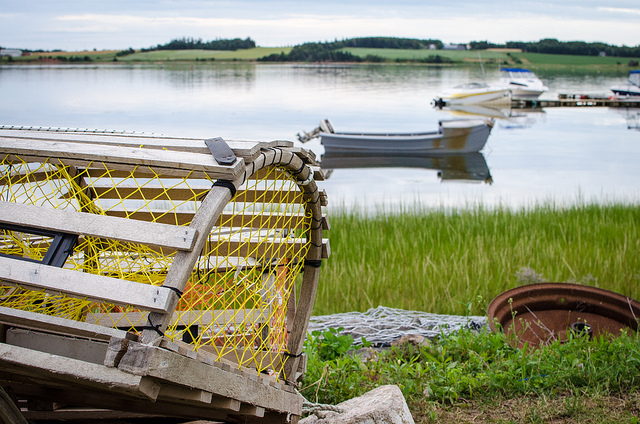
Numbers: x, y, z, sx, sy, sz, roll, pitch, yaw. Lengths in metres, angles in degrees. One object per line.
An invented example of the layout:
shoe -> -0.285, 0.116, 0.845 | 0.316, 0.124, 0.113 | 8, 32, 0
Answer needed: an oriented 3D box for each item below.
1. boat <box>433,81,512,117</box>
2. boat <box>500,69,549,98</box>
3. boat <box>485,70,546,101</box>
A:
boat -> 5.018, -3.538, 26.657 | 2.887, 1.162, 1.285 | 5, 14, 20
boat -> 6.059, -3.935, 24.640 | 0.708, 0.730, 2.436 | -4, 6, -7
boat -> 6.057, -3.891, 24.558 | 0.809, 0.889, 2.756 | -3, 3, -11
